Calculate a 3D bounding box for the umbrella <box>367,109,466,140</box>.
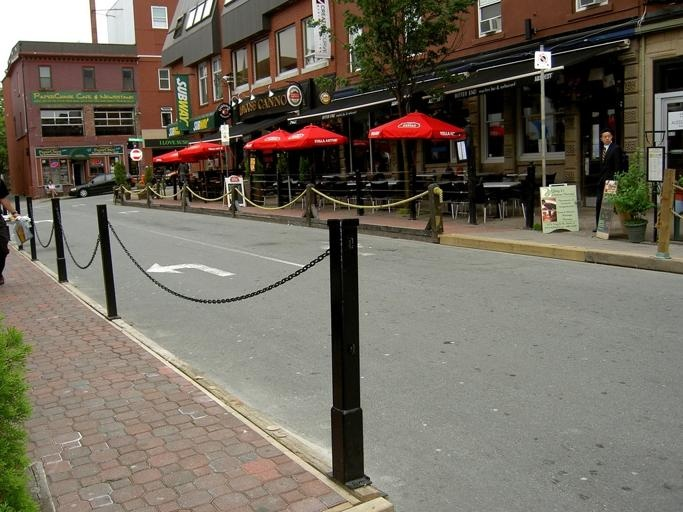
[{"bbox_3d":[2.207,-3.630,17.537,2.322,0.715,1.352,-6,10,-26],"label":"umbrella"}]
